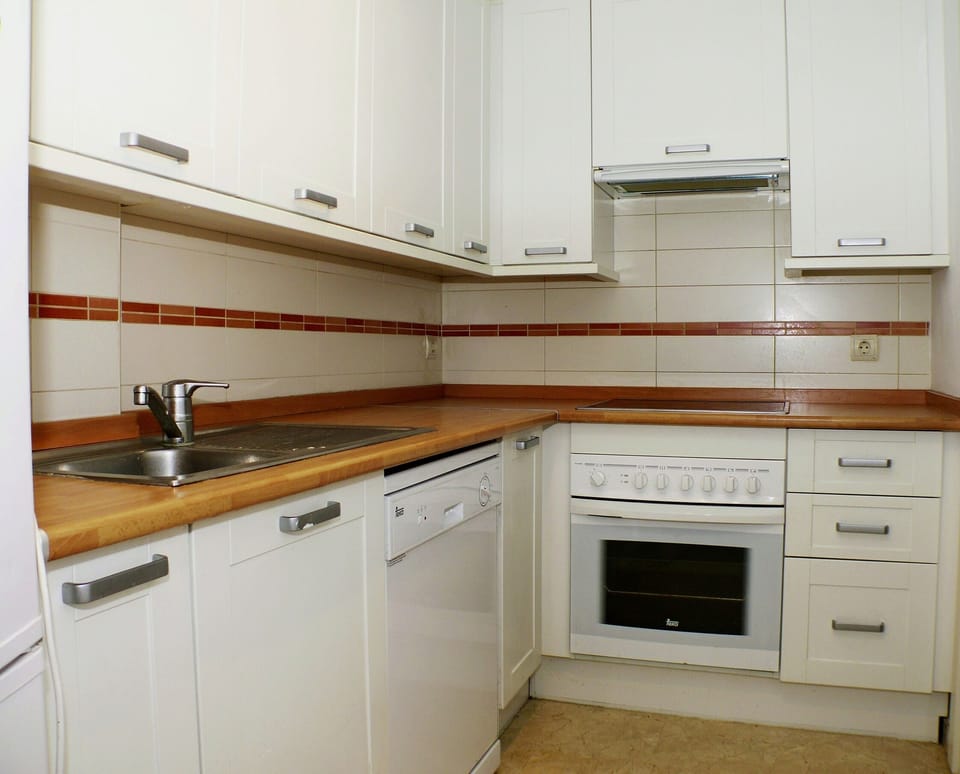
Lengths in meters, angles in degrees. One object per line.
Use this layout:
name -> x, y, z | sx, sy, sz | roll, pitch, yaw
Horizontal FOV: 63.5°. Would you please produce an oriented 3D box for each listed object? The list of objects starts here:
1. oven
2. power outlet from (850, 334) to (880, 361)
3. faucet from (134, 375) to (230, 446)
oven -> 0.653, 0.549, 2.632 | 0.696, 0.658, 0.489 | 2, 3, 18
power outlet -> 1.429, -0.142, 2.857 | 0.098, 0.108, 0.015 | 1, 2, 23
faucet -> -0.628, 0.056, 1.648 | 0.152, 0.134, 0.206 | -3, -3, 5
